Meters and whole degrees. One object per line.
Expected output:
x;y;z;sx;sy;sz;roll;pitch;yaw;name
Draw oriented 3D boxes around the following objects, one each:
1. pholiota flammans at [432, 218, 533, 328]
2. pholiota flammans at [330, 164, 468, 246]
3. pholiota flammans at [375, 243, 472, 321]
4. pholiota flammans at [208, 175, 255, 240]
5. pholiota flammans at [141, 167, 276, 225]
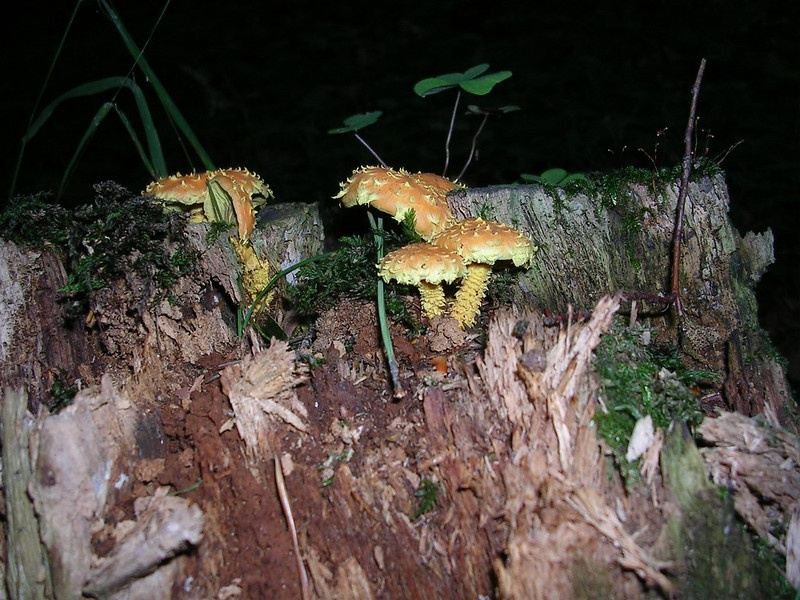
0.667;-0.230;5.829;0.869;0.849;0.827;-7;12;-44;pholiota flammans
0.000;-0.814;5.895;1.003;0.664;0.532;-1;-1;3;pholiota flammans
0.175;-0.146;5.491;0.680;0.596;0.384;-1;-1;-2;pholiota flammans
-1.365;-0.766;5.804;0.232;0.565;0.304;-9;7;-36;pholiota flammans
-1.597;-0.951;5.977;0.632;0.298;0.694;19;23;41;pholiota flammans
